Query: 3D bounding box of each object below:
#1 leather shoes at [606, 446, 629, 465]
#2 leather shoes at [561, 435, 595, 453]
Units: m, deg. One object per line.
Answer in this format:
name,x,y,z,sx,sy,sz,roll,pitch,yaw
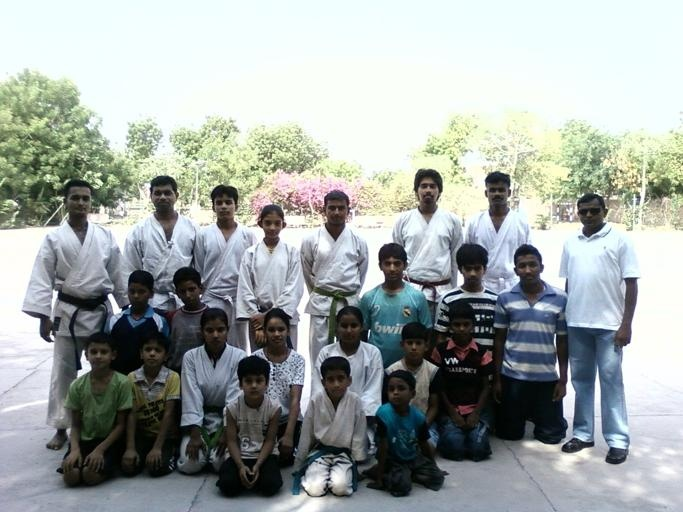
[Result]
leather shoes,2.448,1.767,5.284,0.137,0.150,0.297,2,0,44
leather shoes,2.166,1.757,5.519,0.331,0.117,0.113,3,-5,-23
